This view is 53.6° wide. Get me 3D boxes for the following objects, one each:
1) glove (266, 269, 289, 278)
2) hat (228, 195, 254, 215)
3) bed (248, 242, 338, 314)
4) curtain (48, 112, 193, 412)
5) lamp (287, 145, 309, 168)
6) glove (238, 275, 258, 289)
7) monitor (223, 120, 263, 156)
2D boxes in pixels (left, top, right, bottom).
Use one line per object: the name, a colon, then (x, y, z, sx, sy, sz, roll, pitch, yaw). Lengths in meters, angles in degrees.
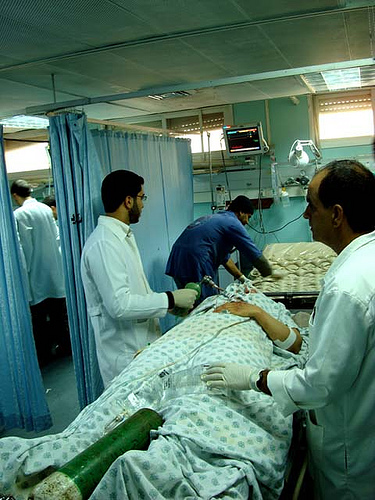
glove: (0.931, 0.237, 3.786, 0.154, 0.040, 0.151, -12, 3, 8)
hat: (0.553, -0.461, 3.779, 0.180, 0.214, 0.228, 11, 12, 27)
bed: (1.264, 0.315, 4.346, 0.671, 0.319, 1.347, 0, 24, 23)
curtain: (-0.493, -0.074, 3.796, 0.496, 2.375, 2.525, -6, 9, 19)
lamp: (1.683, -1.424, 5.672, 0.252, 0.290, 0.739, -6, 8, 16)
glove: (0.541, 0.276, 3.355, 0.173, 0.066, 0.116, 18, 51, 37)
monitor: (0.832, -1.642, 5.784, 0.626, 0.481, 0.331, -7, -11, -4)
